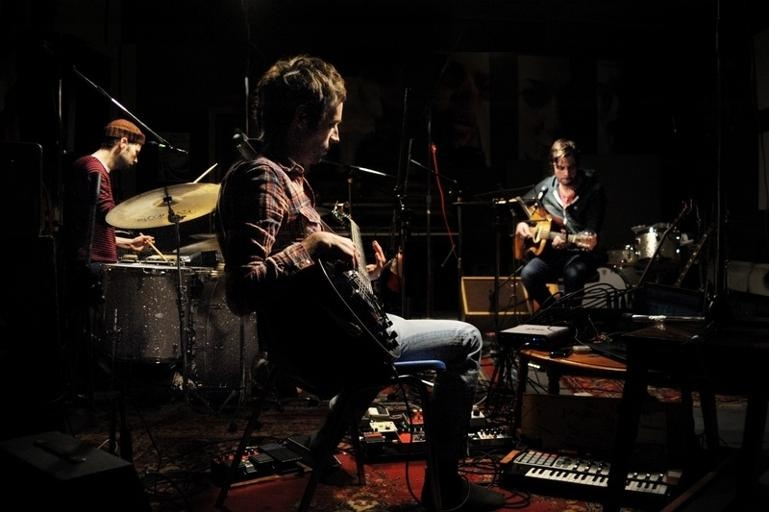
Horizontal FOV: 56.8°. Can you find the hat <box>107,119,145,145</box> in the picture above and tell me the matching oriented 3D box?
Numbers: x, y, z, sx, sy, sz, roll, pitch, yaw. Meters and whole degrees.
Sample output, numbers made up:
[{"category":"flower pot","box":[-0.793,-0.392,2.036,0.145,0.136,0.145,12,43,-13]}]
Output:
[{"category":"hat","box":[-2.238,-1.067,6.116,0.195,0.159,0.287,16,-2,35]}]

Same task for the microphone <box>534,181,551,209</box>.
[{"category":"microphone","box":[1.645,-0.632,7.413,0.085,0.334,0.095,16,-35,20]}]

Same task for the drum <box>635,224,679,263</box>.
[{"category":"drum","box":[2.857,-0.156,7.524,0.343,0.374,0.397,-1,6,-16]}]

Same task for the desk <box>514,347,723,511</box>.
[{"category":"desk","box":[1.535,1.115,5.070,1.506,0.866,1.462,6,-6,3]}]

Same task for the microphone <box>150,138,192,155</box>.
[{"category":"microphone","box":[-1.619,-0.809,5.252,0.212,0.092,0.323,3,6,21]}]

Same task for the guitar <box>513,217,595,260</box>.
[{"category":"guitar","box":[1.625,-0.147,7.201,0.346,0.427,1.016,-3,7,-37]}]

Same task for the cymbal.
[{"category":"cymbal","box":[-1.700,-0.401,5.559,0.706,0.145,0.685,-13,-12,6]}]
